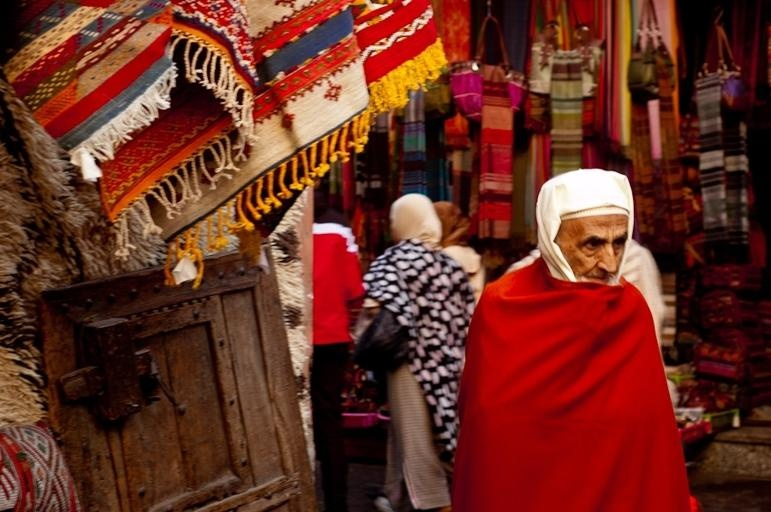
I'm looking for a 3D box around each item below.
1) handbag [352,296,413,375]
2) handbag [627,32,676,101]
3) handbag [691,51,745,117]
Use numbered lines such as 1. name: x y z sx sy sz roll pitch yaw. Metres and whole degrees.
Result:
1. handbag: -0.017 0.490 6.350 0.273 0.367 0.331 6 -12 -36
2. handbag: 1.708 -1.219 7.070 0.340 0.403 0.104 -5 4 -11
3. handbag: 2.289 -1.169 7.540 0.438 0.520 0.389 5 15 22
